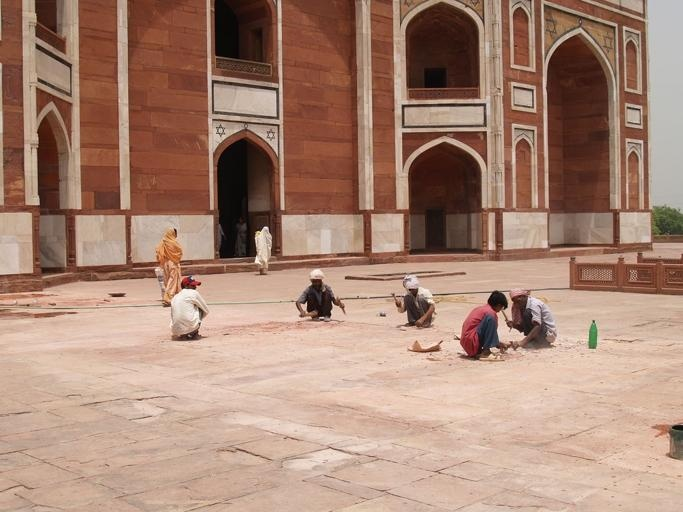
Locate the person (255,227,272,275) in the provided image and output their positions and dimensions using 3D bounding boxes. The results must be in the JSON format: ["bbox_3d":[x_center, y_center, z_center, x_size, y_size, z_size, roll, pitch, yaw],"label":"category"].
[{"bbox_3d":[-2.219,-0.151,23.407,0.425,1.349,0.601,-1,0,-6],"label":"person"}]

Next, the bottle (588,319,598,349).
[{"bbox_3d":[3.372,1.042,11.259,0.122,0.364,0.605,-1,0,17],"label":"bottle"}]

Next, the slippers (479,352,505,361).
[{"bbox_3d":[1.897,1.263,10.507,0.236,0.083,0.129,-3,3,-26],"label":"slippers"}]

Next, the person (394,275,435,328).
[{"bbox_3d":[1.117,0.694,12.881,0.573,0.806,0.826,-1,0,6],"label":"person"}]

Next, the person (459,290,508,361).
[{"bbox_3d":[1.833,0.897,10.807,0.646,0.823,0.687,3,-7,-18],"label":"person"}]

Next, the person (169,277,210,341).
[{"bbox_3d":[-2.226,0.760,12.150,0.518,0.919,0.646,-1,0,-11],"label":"person"}]

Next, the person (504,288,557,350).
[{"bbox_3d":[2.530,0.842,11.206,0.617,0.777,0.551,-1,0,10],"label":"person"}]

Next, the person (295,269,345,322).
[{"bbox_3d":[-0.392,0.753,13.845,0.953,1.011,0.792,0,-19,-2],"label":"person"}]

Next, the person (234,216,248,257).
[{"bbox_3d":[-3.293,-0.626,27.492,0.375,1.281,0.548,-1,0,-5],"label":"person"}]
